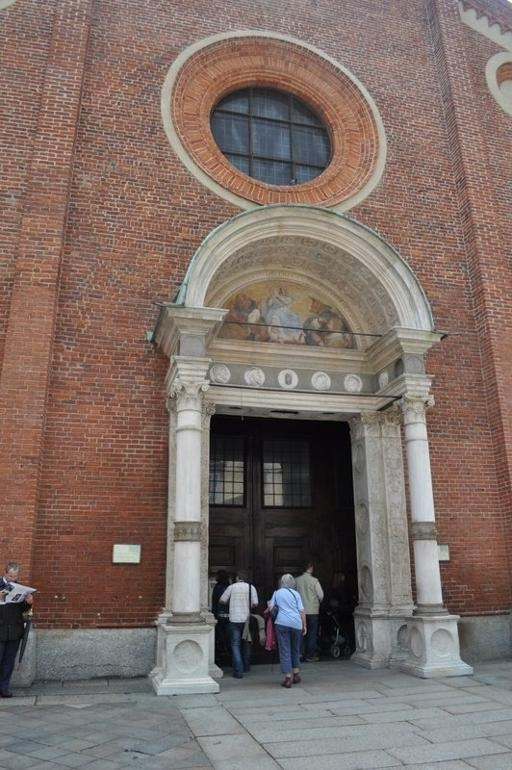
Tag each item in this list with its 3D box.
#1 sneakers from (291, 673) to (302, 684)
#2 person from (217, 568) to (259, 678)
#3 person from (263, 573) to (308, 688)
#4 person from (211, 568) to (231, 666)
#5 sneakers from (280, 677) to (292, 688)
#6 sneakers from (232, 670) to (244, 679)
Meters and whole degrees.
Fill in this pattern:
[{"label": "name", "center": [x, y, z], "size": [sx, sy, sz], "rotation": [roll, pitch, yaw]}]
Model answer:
[{"label": "sneakers", "center": [0.495, 3.689, 7.995], "size": [0.071, 0.146, 0.153], "rotation": [3, -16, -7]}, {"label": "person", "center": [-0.231, 3.253, 8.597], "size": [0.483, 1.357, 0.416], "rotation": [-2, -14, -6]}, {"label": "person", "center": [0.373, 3.086, 8.037], "size": [0.470, 1.319, 0.608], "rotation": [-3, -14, 0]}, {"label": "person", "center": [-0.494, 3.680, 10.164], "size": [0.402, 1.495, 0.390], "rotation": [-1, 7, -15]}, {"label": "sneakers", "center": [0.371, 3.638, 7.809], "size": [0.086, 0.107, 0.251], "rotation": [1, -9, -4]}, {"label": "sneakers", "center": [-0.254, 3.898, 8.556], "size": [0.130, 0.090, 0.198], "rotation": [-2, -14, -5]}]
